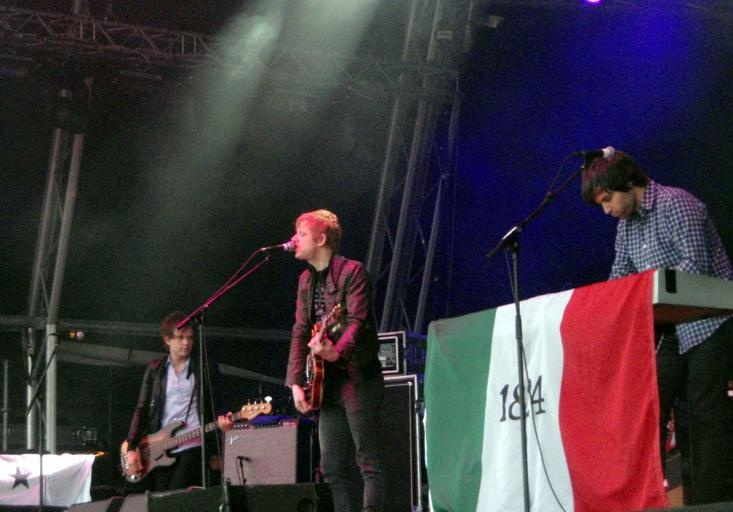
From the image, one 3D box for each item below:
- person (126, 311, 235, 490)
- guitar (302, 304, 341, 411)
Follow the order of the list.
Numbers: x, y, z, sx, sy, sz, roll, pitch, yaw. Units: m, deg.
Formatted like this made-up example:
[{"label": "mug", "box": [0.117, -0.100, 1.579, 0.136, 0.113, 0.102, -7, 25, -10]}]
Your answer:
[{"label": "person", "box": [-1.983, 1.535, 8.811, 0.942, 2.000, 0.257, 26, 8, 29]}, {"label": "guitar", "box": [-0.350, 0.851, 6.939, 0.143, 0.366, 0.870, 8, -51, -1]}]
